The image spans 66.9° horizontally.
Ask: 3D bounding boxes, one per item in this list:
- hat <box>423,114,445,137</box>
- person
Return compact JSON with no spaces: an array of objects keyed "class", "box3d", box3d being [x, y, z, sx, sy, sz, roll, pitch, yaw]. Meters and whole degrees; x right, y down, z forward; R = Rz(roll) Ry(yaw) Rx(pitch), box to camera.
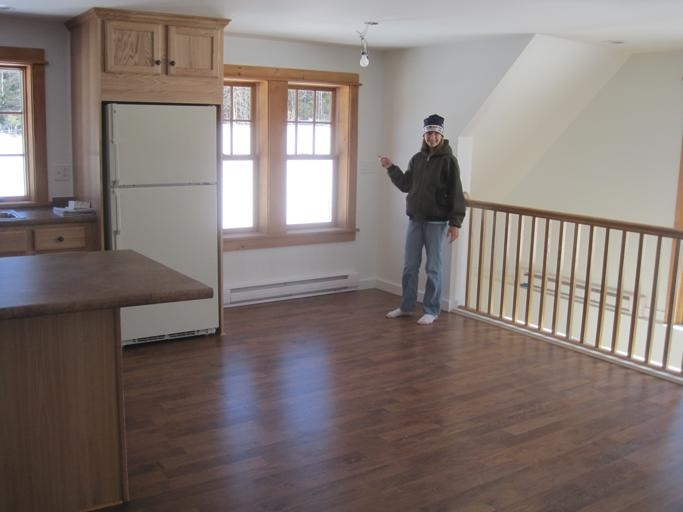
[{"class":"hat","box3d":[0.818,-1.156,4.600,0.190,0.216,0.236,1,0,10]},{"class":"person","box3d":[0.757,-0.328,4.718,0.733,1.856,0.428,7,13,25]}]
